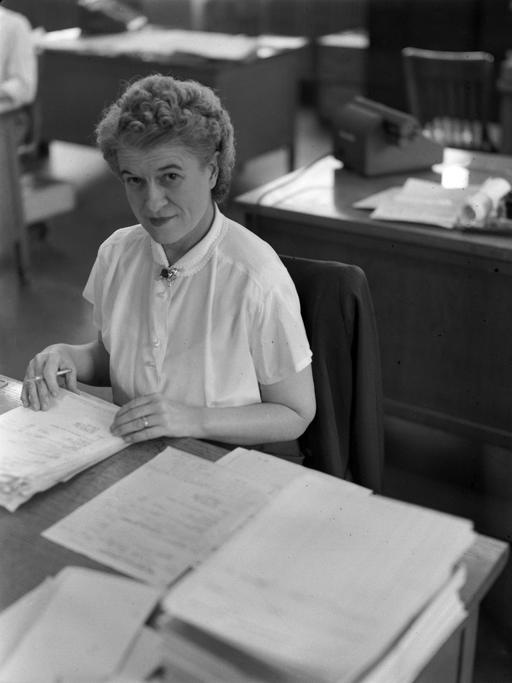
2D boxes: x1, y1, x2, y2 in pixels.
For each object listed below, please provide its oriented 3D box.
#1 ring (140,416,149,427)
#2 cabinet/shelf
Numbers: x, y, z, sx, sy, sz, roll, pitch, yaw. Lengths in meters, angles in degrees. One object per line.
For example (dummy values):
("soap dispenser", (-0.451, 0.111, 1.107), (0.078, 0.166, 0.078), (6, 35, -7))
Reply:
("ring", (-0.172, 0.126, 1.079), (0.010, 0.013, 0.014), (-1, -10, 2))
("cabinet/shelf", (0.454, -1.436, 3.737), (0.174, 0.407, 0.758), (-7, 13, -8))
